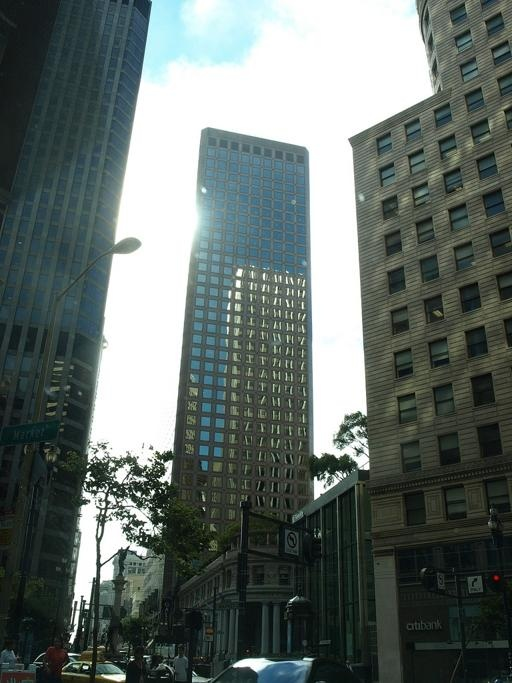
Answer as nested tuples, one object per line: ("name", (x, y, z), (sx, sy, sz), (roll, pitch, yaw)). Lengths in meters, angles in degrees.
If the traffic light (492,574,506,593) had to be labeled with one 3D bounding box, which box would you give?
("traffic light", (7.384, 7.380, 19.460), (0.385, 0.532, 0.466), (-7, -28, 17))
